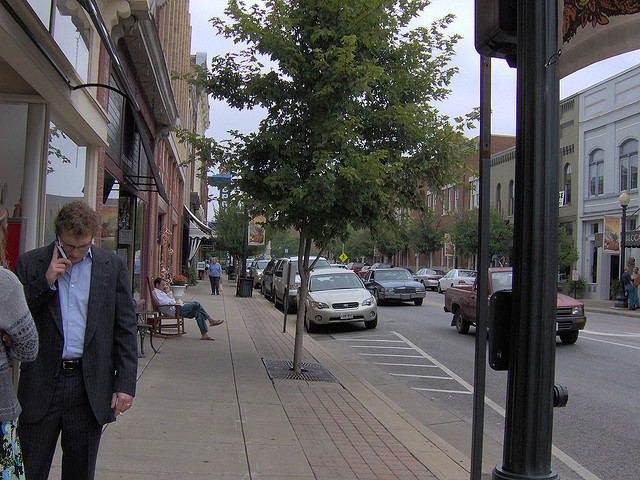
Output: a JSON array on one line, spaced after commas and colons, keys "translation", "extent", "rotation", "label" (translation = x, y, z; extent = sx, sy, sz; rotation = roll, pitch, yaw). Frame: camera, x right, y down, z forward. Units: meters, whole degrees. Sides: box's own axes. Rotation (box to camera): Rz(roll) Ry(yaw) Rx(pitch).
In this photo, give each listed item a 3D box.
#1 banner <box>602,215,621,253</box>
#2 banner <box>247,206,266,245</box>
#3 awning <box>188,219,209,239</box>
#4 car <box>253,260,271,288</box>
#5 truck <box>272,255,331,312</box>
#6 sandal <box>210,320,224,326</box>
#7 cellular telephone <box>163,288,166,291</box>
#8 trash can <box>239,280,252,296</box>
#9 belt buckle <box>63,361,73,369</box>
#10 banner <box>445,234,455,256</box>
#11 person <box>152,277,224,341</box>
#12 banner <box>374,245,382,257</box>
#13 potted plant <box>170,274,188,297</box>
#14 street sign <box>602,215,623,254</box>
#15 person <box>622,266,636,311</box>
[{"translation": [14.806, -0.310, 27.268], "extent": [0.835, 1.820, 0.062], "rotation": [2, -11, 26], "label": "banner"}, {"translation": [-4.832, -0.845, 40.781], "extent": [1.465, 2.538, 0.062], "rotation": [1, 0, 7], "label": "banner"}, {"translation": [-8.612, -0.709, 37.379], "extent": [1.181, 1.098, 3.891], "rotation": [0, -5, -13], "label": "awning"}, {"translation": [-3.654, 1.954, 33.567], "extent": [0.998, 1.216, 2.284], "rotation": [1, -7, -12], "label": "car"}, {"translation": [-1.044, 1.675, 20.341], "extent": [1.319, 1.537, 3.029], "rotation": [0, 1, -7], "label": "truck"}, {"translation": [-2.271, 1.850, 11.862], "extent": [0.321, 0.105, 0.186], "rotation": [-20, 3, -7], "label": "sandal"}, {"translation": [-3.486, 1.105, 12.007], "extent": [0.051, 0.060, 0.013], "rotation": [4, -34, 4], "label": "cellular telephone"}, {"translation": [-3.619, 2.264, 25.390], "extent": [0.627, 0.829, 0.583], "rotation": [2, -4, -11], "label": "trash can"}, {"translation": [-1.633, 0.806, 3.460], "extent": [0.040, 0.049, 0.012], "rotation": [2, -4, -5], "label": "belt buckle"}, {"translation": [10.985, 0.370, 45.652], "extent": [0.103, 1.873, 1.592], "rotation": [2, -3, 40], "label": "banner"}, {"translation": [-2.975, 1.547, 11.993], "extent": [1.353, 1.681, 0.686], "rotation": [-10, -16, -12], "label": "person"}, {"translation": [7.550, 1.516, 71.366], "extent": [1.691, 1.128, 1.803], "rotation": [1, -8, -3], "label": "banner"}, {"translation": [-5.466, 1.737, 20.721], "extent": [0.607, 0.749, 0.647], "rotation": [4, -7, -28], "label": "potted plant"}, {"translation": [14.781, -0.286, 27.257], "extent": [0.938, 2.089, 0.061], "rotation": [7, 31, 37], "label": "street sign"}, {"translation": [13.554, 2.200, 23.621], "extent": [0.471, 1.719, 1.013], "rotation": [-2, -3, 31], "label": "person"}]
